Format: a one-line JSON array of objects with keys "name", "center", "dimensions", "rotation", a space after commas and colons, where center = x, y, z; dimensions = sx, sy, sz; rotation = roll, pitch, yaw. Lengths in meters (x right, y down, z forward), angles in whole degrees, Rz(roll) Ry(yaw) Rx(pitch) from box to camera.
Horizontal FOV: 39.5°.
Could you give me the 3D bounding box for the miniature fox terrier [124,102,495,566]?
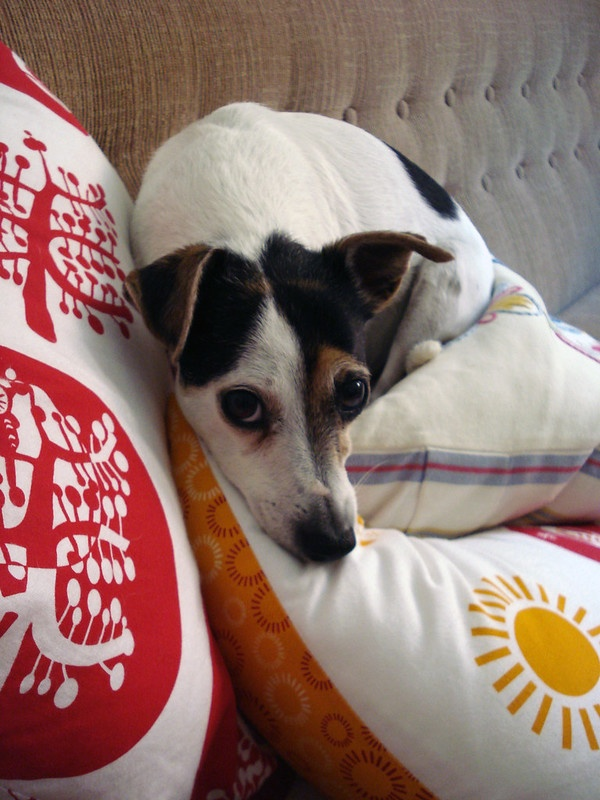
[{"name": "miniature fox terrier", "center": [-0.113, -0.091, 1.561], "dimensions": [0.678, 0.342, 0.855], "rotation": [10, 41, -23]}]
